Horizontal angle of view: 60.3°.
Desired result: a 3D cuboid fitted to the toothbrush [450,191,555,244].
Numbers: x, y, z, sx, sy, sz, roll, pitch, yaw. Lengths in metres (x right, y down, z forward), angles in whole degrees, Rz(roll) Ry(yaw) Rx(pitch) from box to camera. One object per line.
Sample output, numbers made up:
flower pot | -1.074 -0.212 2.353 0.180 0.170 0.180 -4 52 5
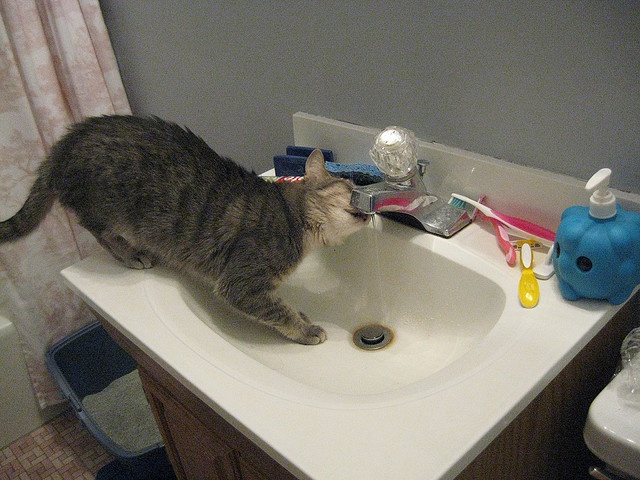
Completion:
toothbrush | 0.409 -0.046 1.216 0.166 0.020 0.033 35 55 21

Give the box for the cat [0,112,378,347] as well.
cat | -0.299 -0.054 1.362 1.056 0.481 0.232 22 26 -1

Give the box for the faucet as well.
faucet | 0.195 -0.120 1.195 0.284 0.258 0.096 -18 22 -33
